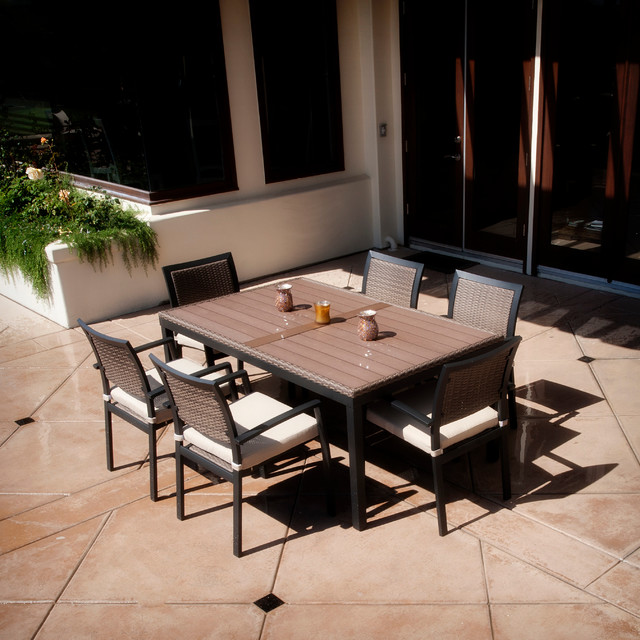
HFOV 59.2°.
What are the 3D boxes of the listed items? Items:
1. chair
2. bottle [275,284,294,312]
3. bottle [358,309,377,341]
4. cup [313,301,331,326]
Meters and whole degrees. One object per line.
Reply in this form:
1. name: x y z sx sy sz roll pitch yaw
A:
1. chair: 0.245 0.248 3.405 1.448 0.923 2.036 -18 23 -38
2. bottle: -0.237 -0.142 3.634 0.126 0.184 0.127 0 23 0
3. bottle: 0.255 0.031 3.060 0.122 0.166 0.118 -3 19 1
4. cup: 0.015 -0.039 3.403 0.127 0.145 0.125 -1 22 1
